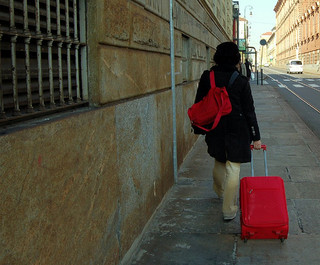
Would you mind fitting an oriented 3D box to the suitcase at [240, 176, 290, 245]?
[{"bbox_3d":[1.204,0.865,3.210,0.500,0.443,0.856,-7,36,13],"label":"suitcase"}]

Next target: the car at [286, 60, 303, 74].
[{"bbox_3d":[28.393,-14.133,57.795,2.043,2.564,3.408,-6,9,-32],"label":"car"}]

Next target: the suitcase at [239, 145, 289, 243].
[{"bbox_3d":[1.214,0.705,3.286,0.461,0.534,1.149,-4,39,14],"label":"suitcase"}]

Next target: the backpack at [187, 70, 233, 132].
[{"bbox_3d":[0.723,-0.425,3.673,0.433,0.875,0.674,-15,-21,28],"label":"backpack"}]
